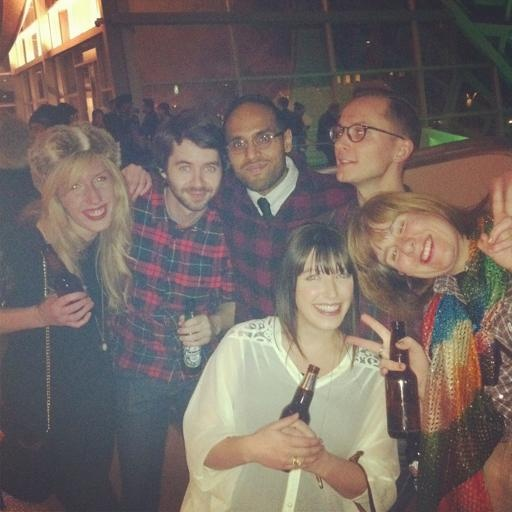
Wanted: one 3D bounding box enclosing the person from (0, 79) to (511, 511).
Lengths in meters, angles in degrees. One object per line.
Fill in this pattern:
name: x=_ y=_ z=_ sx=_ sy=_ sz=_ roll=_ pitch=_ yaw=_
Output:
person: x=0.444 y=0.174 z=2.249 sx=1.008 sy=1.639 sz=0.305 roll=-1 pitch=13 yaw=9
